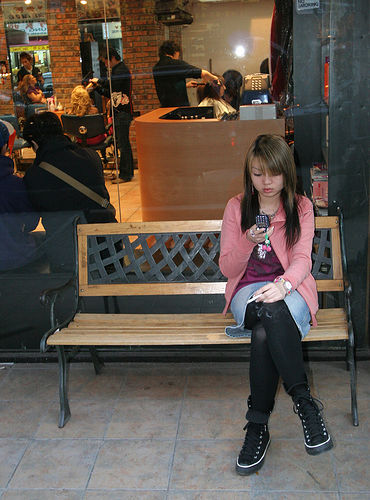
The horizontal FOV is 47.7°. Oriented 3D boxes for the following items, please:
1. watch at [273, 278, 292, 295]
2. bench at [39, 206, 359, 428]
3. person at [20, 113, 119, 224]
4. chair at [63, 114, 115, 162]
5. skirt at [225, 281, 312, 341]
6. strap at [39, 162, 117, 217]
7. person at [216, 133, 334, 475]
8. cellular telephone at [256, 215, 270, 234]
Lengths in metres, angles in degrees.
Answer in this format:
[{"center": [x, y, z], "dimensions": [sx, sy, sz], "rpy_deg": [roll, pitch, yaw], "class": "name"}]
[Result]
[{"center": [0.340, 0.122, 1.470], "dimensions": [0.057, 0.055, 0.022], "rpy_deg": [20, -40, -35], "class": "watch"}, {"center": [0.084, 0.307, 2.044], "dimensions": [1.418, 0.857, 0.580], "rpy_deg": [-2, 12, 8], "class": "bench"}, {"center": [-0.697, -0.588, 2.751], "dimensions": [0.496, 0.903, 0.671], "rpy_deg": [-5, 24, -3], "class": "person"}, {"center": [-0.526, -0.677, 2.442], "dimensions": [0.240, 0.305, 0.256], "rpy_deg": [4, 49, 11], "class": "chair"}, {"center": [0.321, 0.243, 1.593], "dimensions": [0.123, 0.302, 0.265], "rpy_deg": [14, 8, -32], "class": "skirt"}, {"center": [-0.658, -0.388, 2.579], "dimensions": [0.063, 0.461, 0.068], "rpy_deg": [-46, 7, 44], "class": "strap"}, {"center": [0.296, 0.177, 1.550], "dimensions": [0.393, 1.191, 0.587], "rpy_deg": [-2, 7, 12], "class": "person"}, {"center": [0.267, -0.091, 1.453], "dimensions": [0.043, 0.059, 0.019], "rpy_deg": [-3, 1, 23], "class": "cellular telephone"}]
